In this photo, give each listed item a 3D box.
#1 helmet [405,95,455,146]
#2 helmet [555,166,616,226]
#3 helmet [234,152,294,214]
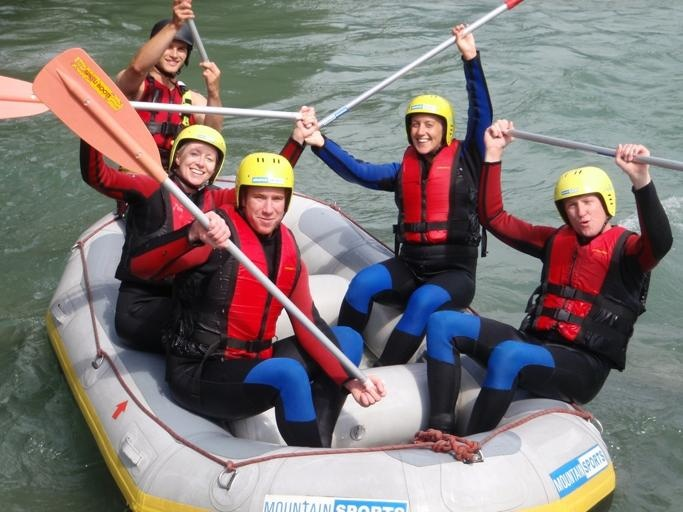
[{"bbox_3d":[0.602,-0.906,5.117,0.271,0.261,0.369,-2,-2,29],"label":"helmet"},{"bbox_3d":[1.433,-0.377,4.579,0.298,0.284,0.390,-5,17,33],"label":"helmet"},{"bbox_3d":[-0.407,-0.414,4.339,0.343,0.312,0.359,-5,16,-31],"label":"helmet"}]
